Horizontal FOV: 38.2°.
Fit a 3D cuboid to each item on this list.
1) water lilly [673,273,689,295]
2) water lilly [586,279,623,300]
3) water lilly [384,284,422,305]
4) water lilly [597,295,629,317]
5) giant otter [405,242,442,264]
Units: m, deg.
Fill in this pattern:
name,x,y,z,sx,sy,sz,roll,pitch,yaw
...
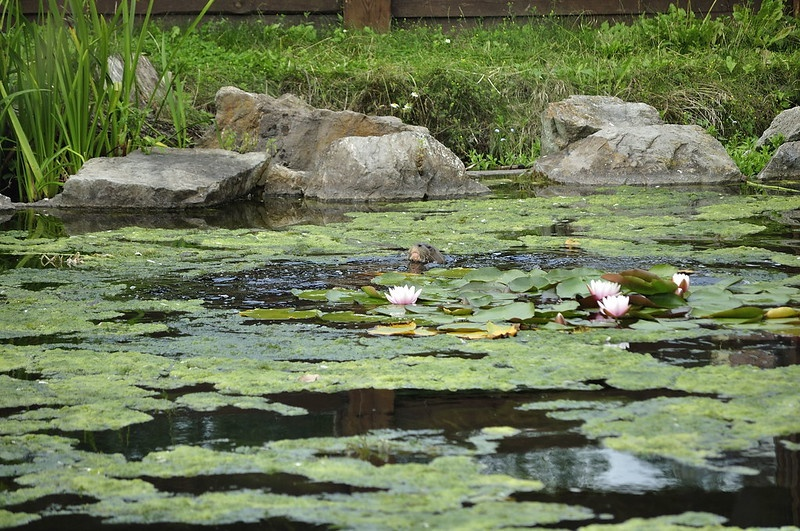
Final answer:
name,x,y,z,sx,sy,sz,roll,pitch,yaw
water lilly,1.749,0.119,7.174,0.156,0.105,0.133,-7,18,8
water lilly,1.274,0.136,7.034,0.155,0.054,0.158,8,12,34
water lilly,0.029,0.169,7.224,0.228,0.122,0.277,2,11,2
water lilly,1.304,0.241,6.962,0.189,0.138,0.160,3,12,8
giant otter,0.179,-0.087,8.124,0.228,0.090,0.138,10,7,4
